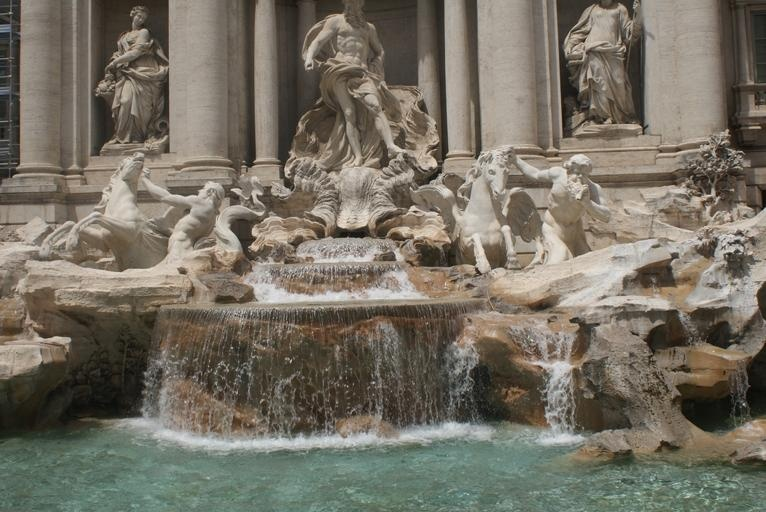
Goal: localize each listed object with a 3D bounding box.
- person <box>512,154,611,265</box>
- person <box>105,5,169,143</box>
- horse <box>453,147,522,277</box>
[{"bbox_3d":[3.265,-0.793,13.526,1.370,1.891,0.840,-1,-1,10],"label":"person"},{"bbox_3d":[-5.759,-4.131,18.000,1.428,3.344,0.603,-1,-1,-15],"label":"person"},{"bbox_3d":[1.966,-0.793,14.028,1.074,2.240,1.253,-1,-1,-4],"label":"horse"}]
